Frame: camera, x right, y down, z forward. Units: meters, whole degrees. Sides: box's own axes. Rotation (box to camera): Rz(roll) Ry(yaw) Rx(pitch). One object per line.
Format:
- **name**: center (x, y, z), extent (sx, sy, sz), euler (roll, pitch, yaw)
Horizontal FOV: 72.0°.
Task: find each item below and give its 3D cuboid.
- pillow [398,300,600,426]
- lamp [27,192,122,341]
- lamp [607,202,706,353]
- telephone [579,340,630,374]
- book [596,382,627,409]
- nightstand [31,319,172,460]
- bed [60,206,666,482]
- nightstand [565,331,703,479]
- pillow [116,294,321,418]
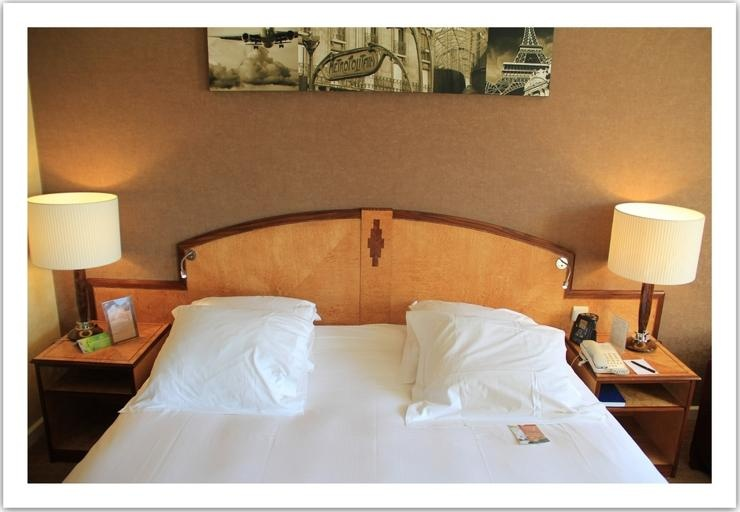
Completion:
- **pillow**: center (0.690, 0.581, 2.857), extent (1.028, 0.476, 0.602), euler (0, 13, -1)
- **lamp**: center (-1.800, 0.053, 3.181), extent (0.497, 0.884, 0.387), euler (-6, 15, -23)
- **lamp**: center (1.721, 0.120, 3.155), extent (0.470, 0.884, 0.432), euler (6, 15, 24)
- **telephone**: center (1.364, 0.558, 2.968), extent (0.164, 0.081, 0.203), euler (-2, 29, -6)
- **book**: center (1.416, 0.827, 3.010), extent (0.163, 0.087, 0.160), euler (-1, 12, -2)
- **nightstand**: center (-1.599, 0.914, 3.155), extent (0.651, 0.614, 0.559), euler (-2, 3, 1)
- **bed**: center (-0.024, 0.495, 2.950), extent (3.470, 1.353, 0.922), euler (2, 16, 2)
- **nightstand**: center (1.599, 0.919, 3.140), extent (0.503, 0.637, 0.559), euler (5, 10, 5)
- **pillow**: center (-0.782, 0.554, 2.826), extent (0.904, 0.473, 0.481), euler (0, 13, 2)
